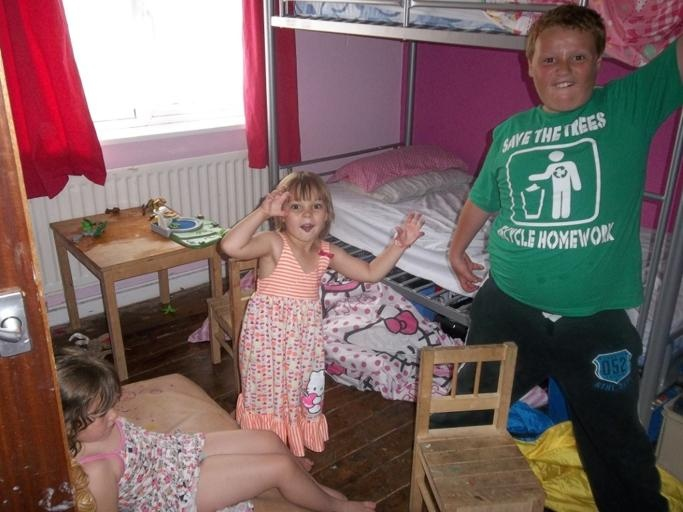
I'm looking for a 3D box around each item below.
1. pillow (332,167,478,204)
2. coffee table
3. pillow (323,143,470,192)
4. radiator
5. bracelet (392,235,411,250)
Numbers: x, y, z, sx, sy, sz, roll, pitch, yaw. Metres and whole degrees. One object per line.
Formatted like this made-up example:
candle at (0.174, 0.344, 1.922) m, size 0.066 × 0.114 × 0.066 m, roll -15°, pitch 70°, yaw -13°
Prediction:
pillow at (0.425, -0.514, 3.666) m, size 0.587 × 0.100 × 0.373 m, roll -17°, pitch 29°, yaw -26°
coffee table at (-1.223, 0.100, 3.304) m, size 1.056 × 0.974 × 1.039 m, roll -20°, pitch 39°, yaw -31°
pillow at (0.474, -0.714, 3.857) m, size 0.828 × 0.199 × 0.469 m, roll -17°, pitch 31°, yaw -24°
radiator at (-1.591, -0.019, 4.223) m, size 1.971 × 0.966 × 1.037 m, roll -21°, pitch 49°, yaw -28°
bracelet at (0.251, -0.055, 2.084) m, size 0.060 × 0.022 × 0.050 m, roll 34°, pitch 18°, yaw 33°
